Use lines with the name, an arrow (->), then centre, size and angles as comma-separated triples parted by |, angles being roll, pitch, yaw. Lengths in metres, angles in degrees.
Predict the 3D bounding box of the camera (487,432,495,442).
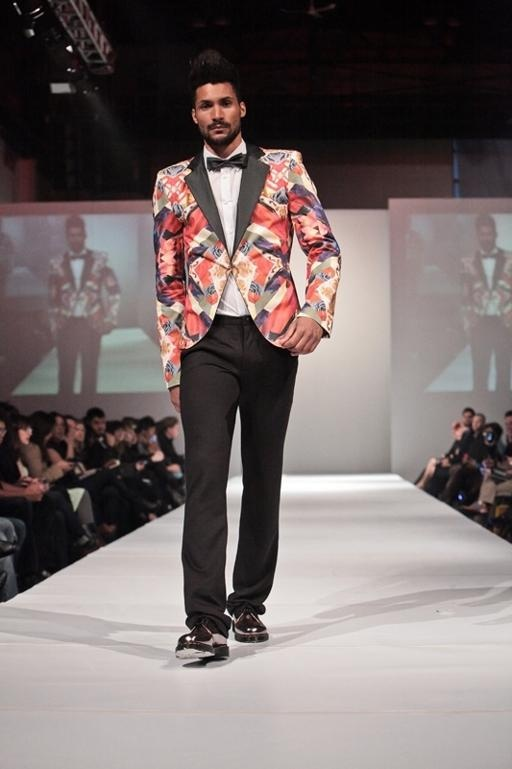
camera -> 1.700, 0.386, 5.302 | 0.067, 0.055, 0.047 | 10, -3, -23

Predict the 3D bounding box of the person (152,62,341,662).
person -> -0.027, -0.073, 1.502 | 0.319, 1.150, 0.335 | 5, -1, -29

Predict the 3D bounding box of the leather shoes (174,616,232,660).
leather shoes -> -0.085, 0.455, 1.323 | 0.060, 0.060, 0.113 | -9, -28, 22

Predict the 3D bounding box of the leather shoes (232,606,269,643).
leather shoes -> -0.016, 0.510, 1.542 | 0.056, 0.045, 0.141 | 0, -9, -4
